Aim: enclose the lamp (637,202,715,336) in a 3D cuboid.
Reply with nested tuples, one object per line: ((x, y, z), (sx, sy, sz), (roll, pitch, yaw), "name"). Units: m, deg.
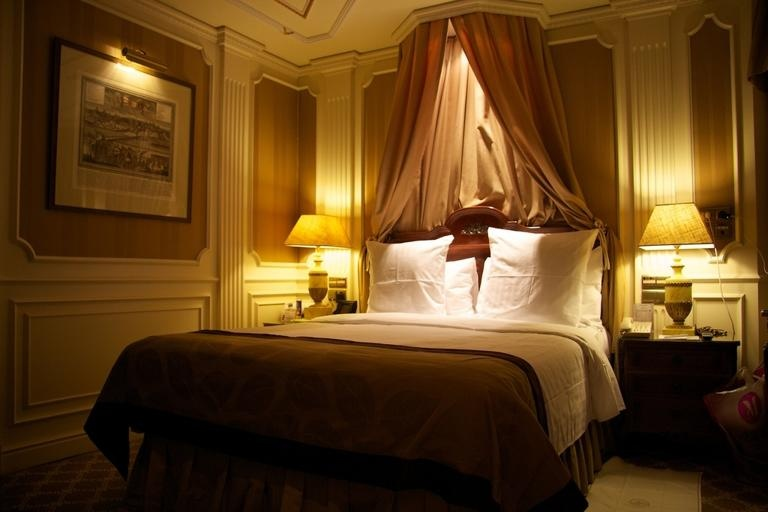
((2.374, 0.085, 4.528), (0.590, 1.009, 0.463), (-3, 6, -16), "lamp")

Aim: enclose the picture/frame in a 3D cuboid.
((-2.259, -1.032, 4.813), (1.238, 1.495, 0.150), (-7, 8, -45), "picture/frame")

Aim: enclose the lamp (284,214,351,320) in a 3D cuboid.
((-0.655, 0.045, 5.943), (0.739, 1.104, 0.757), (2, 10, 5), "lamp")
